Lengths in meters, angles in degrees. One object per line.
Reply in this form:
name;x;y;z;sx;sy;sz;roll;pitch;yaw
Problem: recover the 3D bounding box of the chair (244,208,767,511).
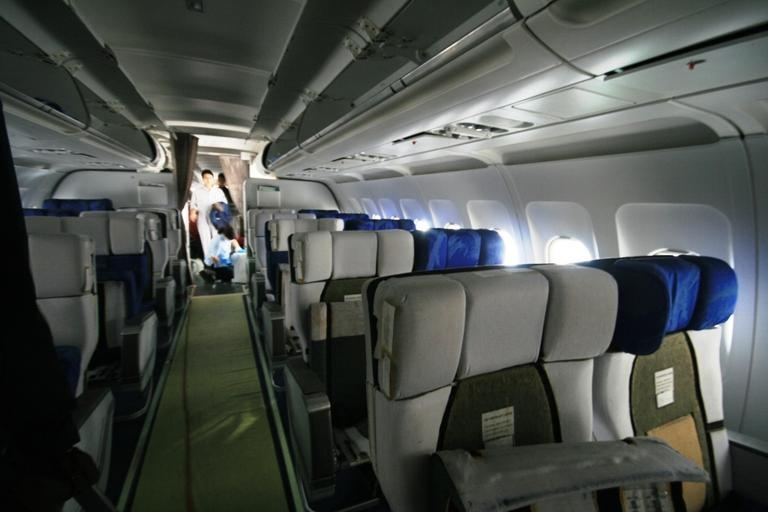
chair;0.818;0.849;3.615;3.252;2.178;1.348;-2;2;5
